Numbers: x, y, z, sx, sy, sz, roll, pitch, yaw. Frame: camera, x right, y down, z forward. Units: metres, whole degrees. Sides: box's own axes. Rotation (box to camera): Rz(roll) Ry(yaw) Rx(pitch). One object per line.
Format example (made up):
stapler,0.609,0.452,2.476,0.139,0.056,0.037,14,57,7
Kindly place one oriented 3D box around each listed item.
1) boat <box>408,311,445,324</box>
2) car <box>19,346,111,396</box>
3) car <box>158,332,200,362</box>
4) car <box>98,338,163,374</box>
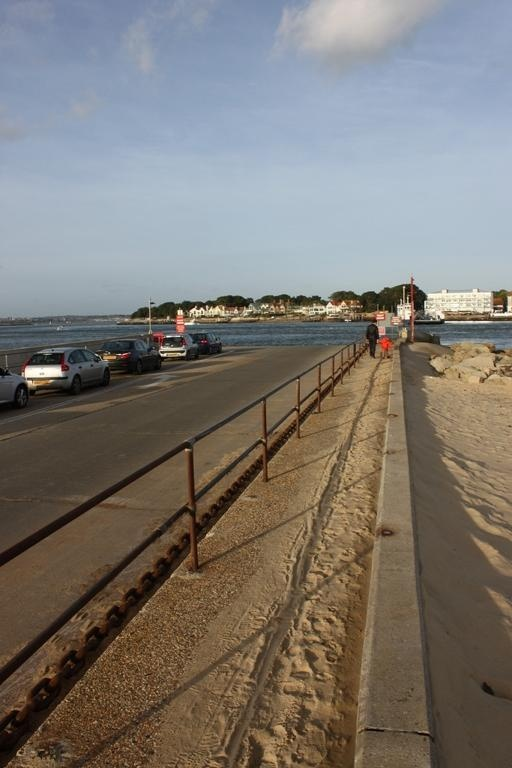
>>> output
boat,49.762,-18.807,156.428,7.334,3.887,24.792,-3,3,16
car,-6.290,-0.492,18.592,1.287,1.047,2.665,1,10,14
car,-4.484,-2.121,31.453,2.122,1.518,1.364,-5,3,-13
car,-5.508,-1.266,24.671,1.193,0.955,2.772,0,8,6
